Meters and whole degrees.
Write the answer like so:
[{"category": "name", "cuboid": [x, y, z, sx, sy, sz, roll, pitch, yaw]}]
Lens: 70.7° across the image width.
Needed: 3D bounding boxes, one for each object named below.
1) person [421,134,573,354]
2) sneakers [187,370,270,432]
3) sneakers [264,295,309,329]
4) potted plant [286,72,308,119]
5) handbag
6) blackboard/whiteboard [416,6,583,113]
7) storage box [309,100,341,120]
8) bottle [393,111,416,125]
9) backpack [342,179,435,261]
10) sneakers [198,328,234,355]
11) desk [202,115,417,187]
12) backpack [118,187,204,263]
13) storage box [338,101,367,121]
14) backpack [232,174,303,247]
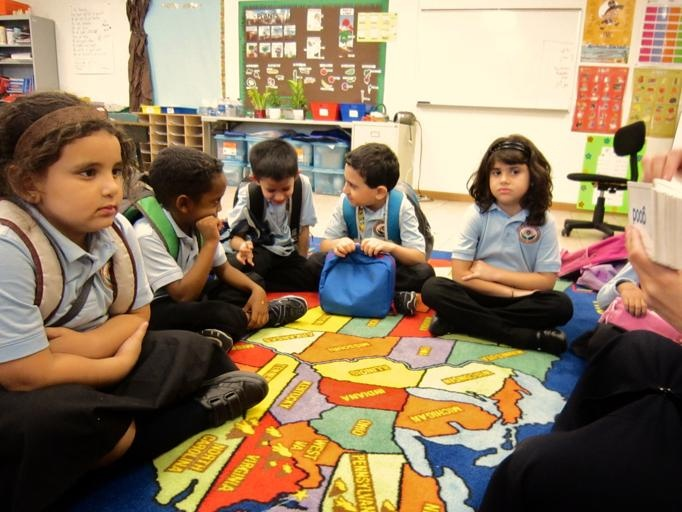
[{"category": "person", "cuboid": [0.603, -0.075, 1.759, 0.501, 0.678, 0.482, 6, 17, 32]}, {"category": "sneakers", "cuboid": [-0.276, 0.356, 1.190, 0.181, 0.085, 0.068, -18, 0, -11]}, {"category": "sneakers", "cuboid": [-0.204, 0.202, 1.758, 0.077, 0.062, 0.197, 4, 12, 42]}, {"category": "potted plant", "cuboid": [-0.439, -1.642, 4.929, 0.199, 0.435, 0.359, -1, 13, -5]}, {"category": "handbag", "cuboid": [0.066, 0.101, 1.918, 0.331, 0.285, 0.184, 3, 13, 30]}, {"category": "blackboard/whiteboard", "cuboid": [1.466, -1.784, 4.283, 1.112, 0.619, 0.053, 7, 21, 18]}, {"category": "storage box", "cuboid": [-0.164, -1.432, 4.723, 0.266, 0.132, 0.180, 2, 13, 13]}, {"category": "bottle", "cuboid": [0.605, -1.291, 4.471, 0.222, 0.104, 0.152, -8, 27, -25]}, {"category": "backpack", "cuboid": [0.261, -0.138, 2.191, 0.415, 0.270, 0.399, -13, 9, 12]}, {"category": "sneakers", "cuboid": [-0.372, 0.258, 1.496, 0.063, 0.126, 0.048, -11, 41, 26]}, {"category": "desk", "cuboid": [-0.296, -1.018, 4.780, 1.861, 0.685, 0.582, 2, 20, 2]}, {"category": "backpack", "cuboid": [-0.581, -0.117, 1.647, 0.221, 0.213, 0.158, 42, 37, 9]}, {"category": "storage box", "cuboid": [0.116, -1.396, 4.636, 0.260, 0.144, 0.174, 1, 14, 9]}, {"category": "backpack", "cuboid": [-0.388, -0.179, 2.162, 0.306, 0.344, 0.280, -7, 16, -22]}]
